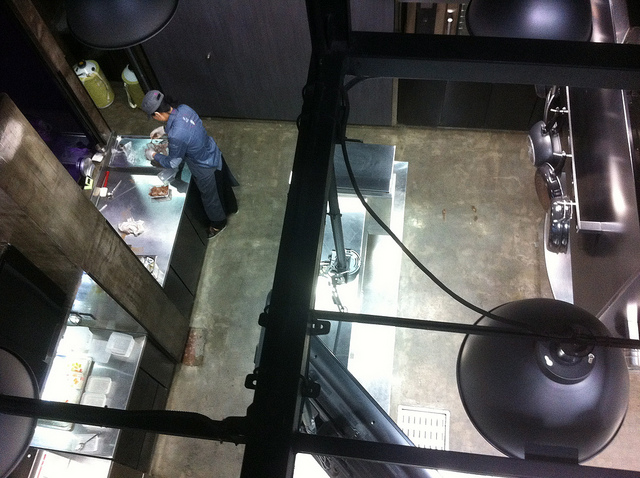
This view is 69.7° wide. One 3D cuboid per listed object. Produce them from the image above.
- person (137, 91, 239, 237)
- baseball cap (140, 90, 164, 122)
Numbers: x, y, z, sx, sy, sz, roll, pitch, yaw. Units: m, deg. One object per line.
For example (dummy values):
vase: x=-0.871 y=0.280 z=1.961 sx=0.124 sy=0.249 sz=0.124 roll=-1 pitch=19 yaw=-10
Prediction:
person: x=-1.584 y=-0.916 z=5.630 sx=0.846 sy=1.854 sz=0.780 roll=-21 pitch=46 yaw=-14
baseball cap: x=-1.843 y=-1.483 z=5.120 sx=0.281 sy=0.154 sz=0.213 roll=-14 pitch=55 yaw=43
